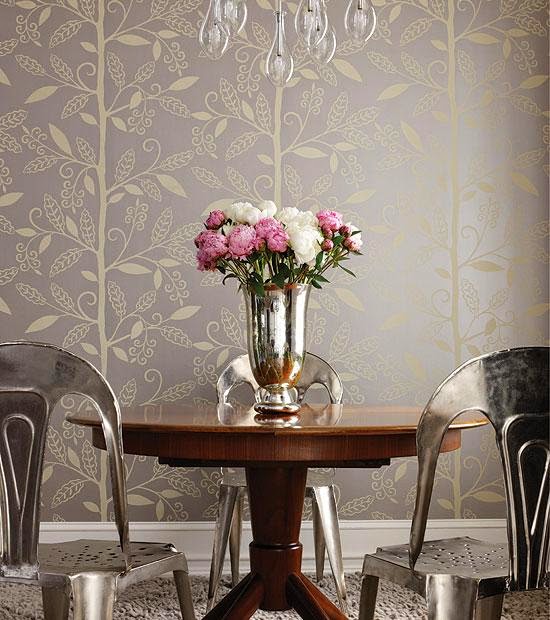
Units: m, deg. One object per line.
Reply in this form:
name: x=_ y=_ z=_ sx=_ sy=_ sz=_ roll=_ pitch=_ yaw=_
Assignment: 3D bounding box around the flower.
flower: x=0.016 y=-0.098 z=1.822 sx=0.326 sy=0.165 sz=0.322 roll=7 pitch=-7 yaw=-43
